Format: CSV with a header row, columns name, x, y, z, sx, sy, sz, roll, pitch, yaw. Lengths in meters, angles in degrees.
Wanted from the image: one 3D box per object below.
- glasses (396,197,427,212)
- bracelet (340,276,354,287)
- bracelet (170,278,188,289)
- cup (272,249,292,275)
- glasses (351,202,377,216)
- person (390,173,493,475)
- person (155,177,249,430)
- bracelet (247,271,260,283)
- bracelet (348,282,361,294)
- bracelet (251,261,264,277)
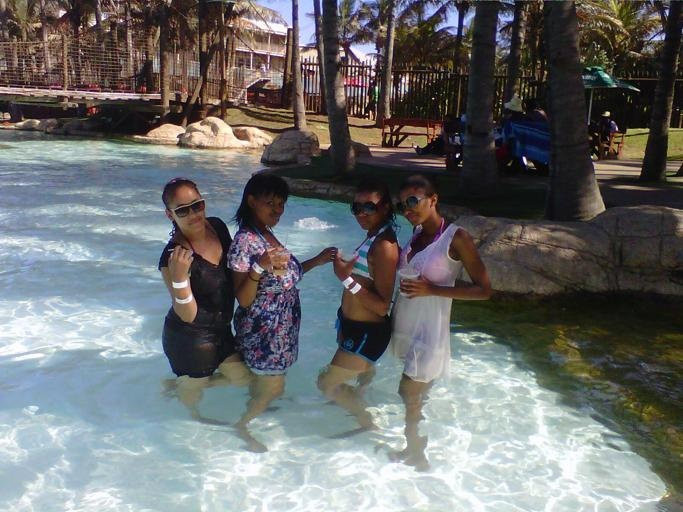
name,x,y,z,sx,sy,sz,roll,pitch,yaw
glasses,0.451,-0.346,3.352,0.094,0.114,0.204,-8,14,-40
bracelet,0.043,0.171,3.237,0.058,0.033,0.080,-35,4,1
bracelet,-0.994,0.171,3.093,0.064,0.027,0.063,6,10,38
cup,-0.378,0.049,3.163,0.093,0.185,0.195,0,11,-8
glasses,0.135,-0.309,3.310,0.192,0.098,0.098,10,14,38
person,0.661,0.491,3.497,0.609,2.067,0.547,3,11,5
person,-0.950,0.445,3.476,0.560,1.943,0.755,-3,12,-21
bracelet,-0.558,0.134,3.159,0.061,0.060,0.057,-9,46,-25
bracelet,0.096,0.207,3.250,0.070,0.049,0.069,-28,1,23
bracelet,-0.524,0.085,3.112,0.077,0.060,0.077,24,11,9
